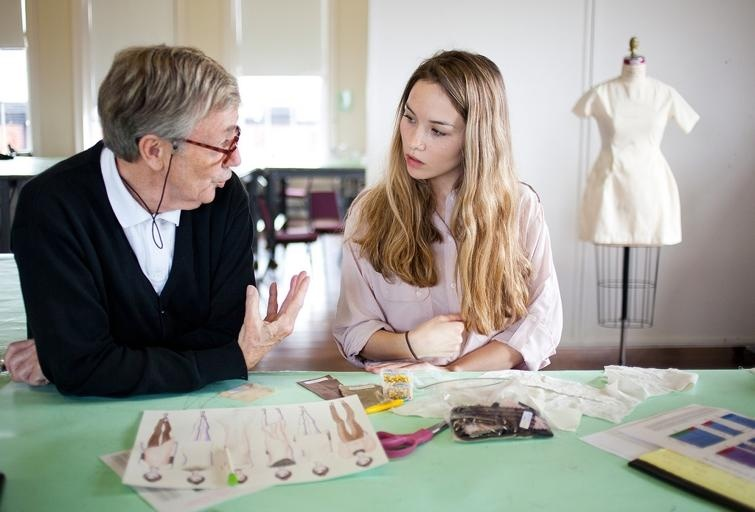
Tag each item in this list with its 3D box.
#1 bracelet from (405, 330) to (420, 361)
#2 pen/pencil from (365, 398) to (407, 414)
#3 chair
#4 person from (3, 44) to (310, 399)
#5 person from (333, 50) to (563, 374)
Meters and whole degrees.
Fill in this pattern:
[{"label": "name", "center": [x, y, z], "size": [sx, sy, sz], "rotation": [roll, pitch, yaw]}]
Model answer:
[{"label": "bracelet", "center": [0.112, 0.317, 2.027], "size": [0.020, 0.078, 0.084], "rotation": [-12, -22, -2]}, {"label": "pen/pencil", "center": [0.021, 0.414, 1.592], "size": [0.088, 0.016, 0.017], "rotation": [-7, 9, -28]}, {"label": "chair", "center": [-0.861, -0.276, 5.980], "size": [0.955, 1.291, 0.944], "rotation": [0, 11, 1]}, {"label": "person", "center": [-0.695, -0.119, 1.770], "size": [0.863, 0.998, 0.431], "rotation": [-3, 9, -9]}, {"label": "person", "center": [0.249, -0.161, 2.145], "size": [0.862, 1.149, 0.419], "rotation": [-2, 9, -5]}]
